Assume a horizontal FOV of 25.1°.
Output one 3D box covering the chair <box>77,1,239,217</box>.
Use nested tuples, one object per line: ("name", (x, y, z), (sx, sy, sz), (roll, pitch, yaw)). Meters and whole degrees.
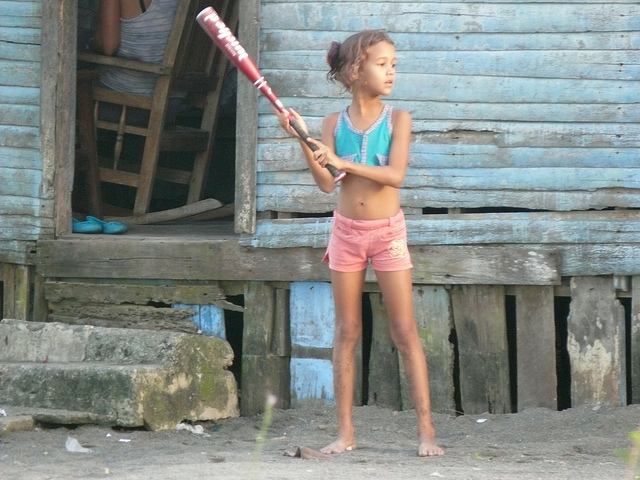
("chair", (-2.011, -1.519, 15.676), (1.856, 2.512, 1.409), (12, 16, 26))
